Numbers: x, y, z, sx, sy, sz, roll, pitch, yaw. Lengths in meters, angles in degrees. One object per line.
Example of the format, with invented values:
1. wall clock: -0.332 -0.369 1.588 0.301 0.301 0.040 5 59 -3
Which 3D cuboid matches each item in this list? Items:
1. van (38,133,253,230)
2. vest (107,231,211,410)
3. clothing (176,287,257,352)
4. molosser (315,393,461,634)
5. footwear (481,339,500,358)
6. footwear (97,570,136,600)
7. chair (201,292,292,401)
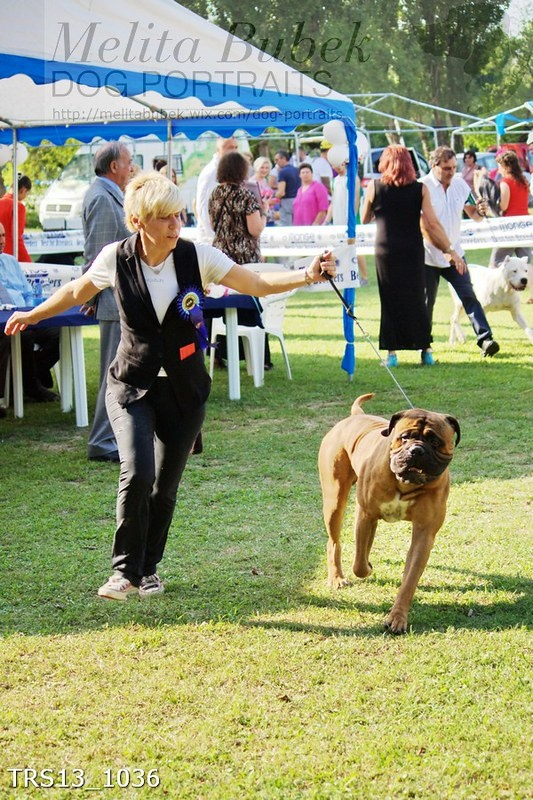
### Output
1. van: -3.404 -5.297 19.545 1.983 2.229 4.503 15 25 33
2. vest: -0.422 -0.290 3.118 0.417 0.624 0.312 -5 15 -21
3. clothing: -0.247 -0.316 3.123 0.137 0.166 0.298 14 -1 34
4. molosser: 0.494 0.424 3.209 0.435 0.873 0.840 -7 15 -9
5. footwear: 2.381 -0.529 8.551 0.123 0.118 0.250 -7 -26 -1
6. footwear: -0.558 0.712 3.020 0.112 0.129 0.131 -1 15 11
7. chair: -0.198 -0.639 8.115 0.846 0.893 0.816 -2 10 -34
